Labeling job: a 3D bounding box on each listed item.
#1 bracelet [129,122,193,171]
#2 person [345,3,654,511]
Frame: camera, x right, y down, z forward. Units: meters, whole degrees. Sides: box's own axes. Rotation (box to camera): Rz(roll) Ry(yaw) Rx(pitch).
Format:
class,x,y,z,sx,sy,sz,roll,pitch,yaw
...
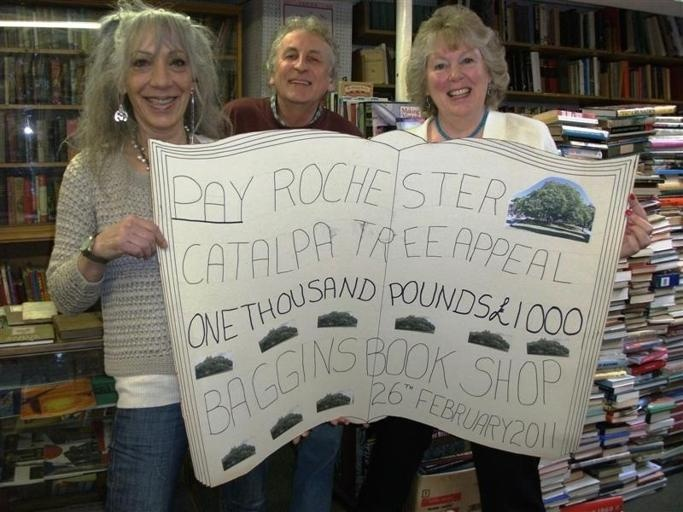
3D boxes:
class,x,y,z,sx,sy,sz,roll,pitch,yaw
bracelet,-0.553,-0.364,1.856,0.225,0.065,0.184,-12,9,34
person,0.539,0.018,2.053,0.875,1.822,0.390,1,2,27
